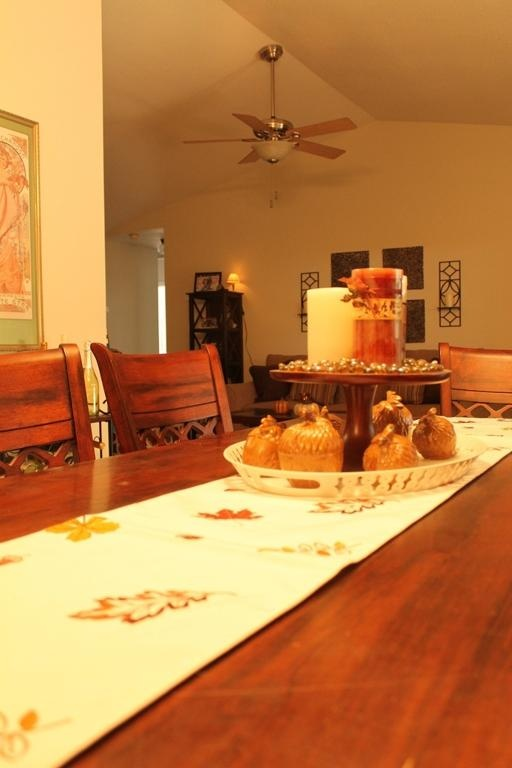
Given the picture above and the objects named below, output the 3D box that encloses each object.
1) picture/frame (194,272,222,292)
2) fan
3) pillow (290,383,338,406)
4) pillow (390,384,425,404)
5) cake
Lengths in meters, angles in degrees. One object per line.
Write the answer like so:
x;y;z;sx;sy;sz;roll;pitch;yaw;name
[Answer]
-0.593;-1.265;7.035;0.352;0.309;0.049;-1;-13;26;picture/frame
0.147;-1.880;3.903;1.104;0.749;1.051;-4;8;-16;fan
0.451;0.081;4.285;0.212;0.132;0.037;3;-25;23;pillow
0.967;0.067;3.514;0.155;0.148;0.088;-3;-9;35;pillow
0.110;0.049;0.720;0.193;0.096;0.263;-1;1;5;cake
